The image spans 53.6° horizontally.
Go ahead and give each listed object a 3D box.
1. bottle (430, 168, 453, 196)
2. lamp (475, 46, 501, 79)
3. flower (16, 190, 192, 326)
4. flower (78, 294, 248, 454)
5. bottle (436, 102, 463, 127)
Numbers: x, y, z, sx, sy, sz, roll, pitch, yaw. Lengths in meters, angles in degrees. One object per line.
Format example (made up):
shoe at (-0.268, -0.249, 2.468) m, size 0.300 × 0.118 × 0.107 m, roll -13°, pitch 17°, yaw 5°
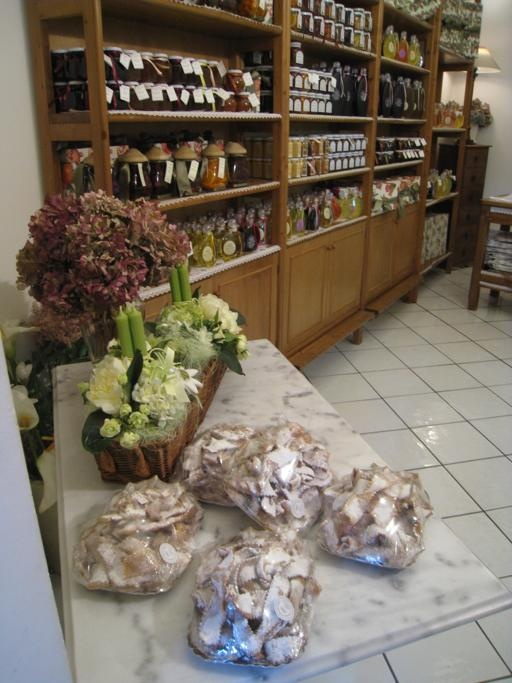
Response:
bottle at (2.059, -1.780, 5.674) m, size 0.141 × 0.309 × 0.335 m, roll 14°, pitch 33°, yaw 33°
lamp at (2.734, -3.331, 5.991) m, size 0.249 × 0.249 × 0.421 m, roll 8°, pitch 24°, yaw 22°
flower at (-0.327, -0.204, 1.123) m, size 0.295 × 0.261 × 0.315 m, roll 12°, pitch 25°, yaw 32°
flower at (-0.182, 0.025, 1.016) m, size 0.218 × 0.159 × 0.374 m, roll 1°, pitch 19°, yaw 2°
bottle at (2.143, -2.521, 5.642) m, size 0.333 × 0.337 × 0.124 m, roll -27°, pitch 31°, yaw -36°
